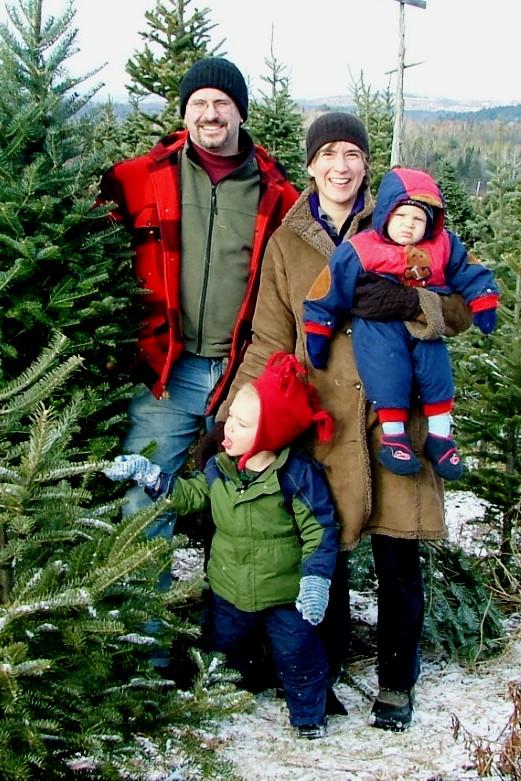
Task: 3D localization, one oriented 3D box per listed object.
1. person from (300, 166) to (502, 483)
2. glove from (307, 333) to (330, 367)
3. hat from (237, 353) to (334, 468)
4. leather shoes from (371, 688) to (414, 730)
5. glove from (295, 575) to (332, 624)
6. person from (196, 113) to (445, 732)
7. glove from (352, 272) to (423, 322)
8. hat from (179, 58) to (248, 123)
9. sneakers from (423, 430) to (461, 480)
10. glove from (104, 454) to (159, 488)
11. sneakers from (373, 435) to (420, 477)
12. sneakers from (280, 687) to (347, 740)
[{"bbox_3d":[0.519,-0.262,2.704,0.724,1.165,0.235,-1,-2,2],"label":"person"},{"bbox_3d":[0.213,-0.152,2.707,0.087,0.117,0.033,5,10,1],"label":"glove"},{"bbox_3d":[0.092,0.065,2.684,0.416,0.366,0.227,2,-1,-41],"label":"hat"},{"bbox_3d":[0.517,1.265,2.950,0.165,0.140,0.165,4,6,39],"label":"leather shoes"},{"bbox_3d":[0.175,0.736,2.533,0.120,0.164,0.044,7,-45,-2],"label":"glove"},{"bbox_3d":[0.387,0.196,2.904,1.197,2.395,0.844,-5,10,-10],"label":"person"},{"bbox_3d":[0.444,-0.323,2.576,0.223,0.158,0.081,10,3,6],"label":"glove"},{"bbox_3d":[-0.204,-1.372,3.332,0.307,0.244,0.322,3,-1,-7],"label":"hat"},{"bbox_3d":[0.667,0.236,2.716,0.105,0.176,0.087,-6,-31,-39],"label":"sneakers"},{"bbox_3d":[-0.455,0.273,2.460,0.143,0.074,0.207,-18,-17,28],"label":"glove"},{"bbox_3d":[0.490,0.227,2.642,0.108,0.172,0.078,-10,-41,-10],"label":"sneakers"},{"bbox_3d":[0.223,1.337,2.945,0.096,0.180,0.263,-19,-40,1],"label":"sneakers"}]
